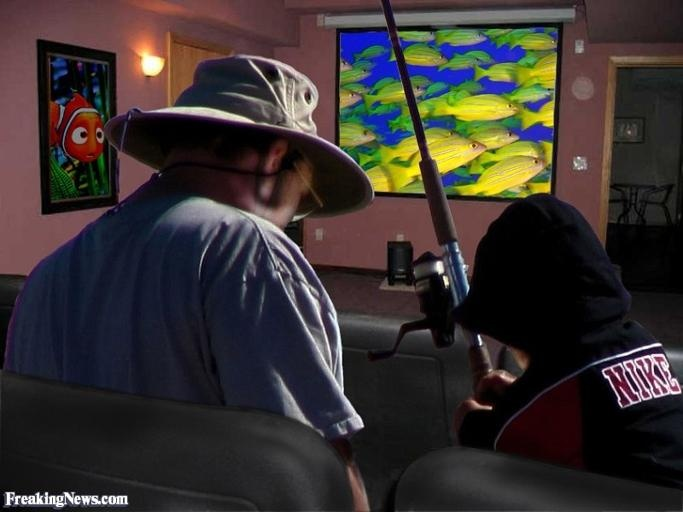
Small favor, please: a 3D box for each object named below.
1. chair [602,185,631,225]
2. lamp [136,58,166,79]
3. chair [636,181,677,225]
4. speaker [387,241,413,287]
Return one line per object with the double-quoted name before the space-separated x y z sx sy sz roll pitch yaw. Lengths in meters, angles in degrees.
"chair" 2.682 -0.522 6.417 0.429 0.305 0.425 0 5 28
"lamp" -1.449 -1.436 4.970 0.138 0.118 0.155 2 8 4
"chair" 2.965 -0.519 6.121 0.368 0.477 0.333 0 3 -34
"speaker" 0.572 0.062 6.280 0.221 0.385 0.369 1 12 7
